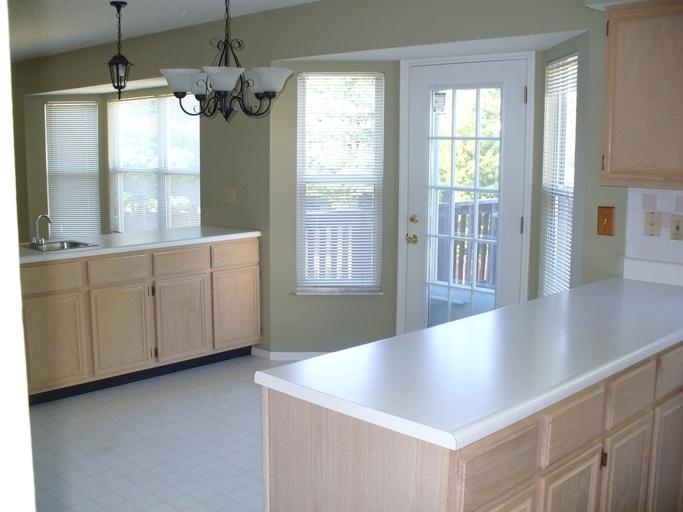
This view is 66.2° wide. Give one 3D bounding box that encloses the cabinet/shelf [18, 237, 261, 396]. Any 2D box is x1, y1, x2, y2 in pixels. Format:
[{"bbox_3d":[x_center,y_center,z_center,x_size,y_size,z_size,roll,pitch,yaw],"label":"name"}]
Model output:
[{"bbox_3d":[-1.450,0.460,4.273,2.112,0.978,0.540,-9,-10,8],"label":"cabinet/shelf"}]
